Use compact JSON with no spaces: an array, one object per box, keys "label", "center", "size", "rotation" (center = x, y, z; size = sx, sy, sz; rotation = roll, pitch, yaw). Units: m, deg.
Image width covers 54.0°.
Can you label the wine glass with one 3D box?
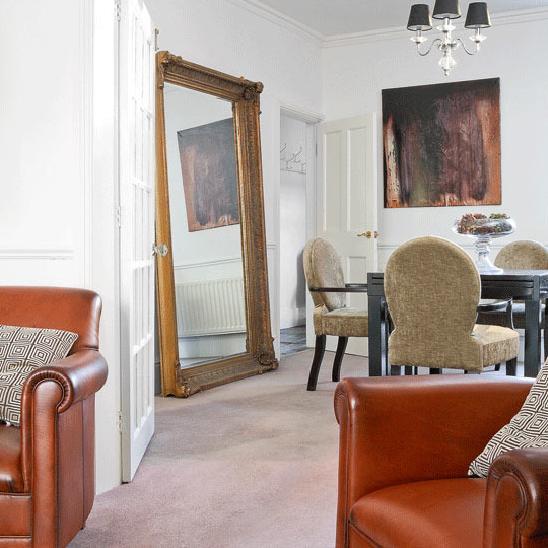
[{"label":"wine glass","center":[1.270,-0.177,3.356],"size":[0.303,0.405,0.347],"rotation":[-1,0,1]}]

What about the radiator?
[{"label":"radiator","center":[-0.480,0.264,4.024],"size":[0.531,0.412,0.045],"rotation":[-5,8,4]}]

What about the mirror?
[{"label":"mirror","center":[-0.425,-0.373,4.057],"size":[0.315,2.379,1.223],"rotation":[1,2,34]}]
